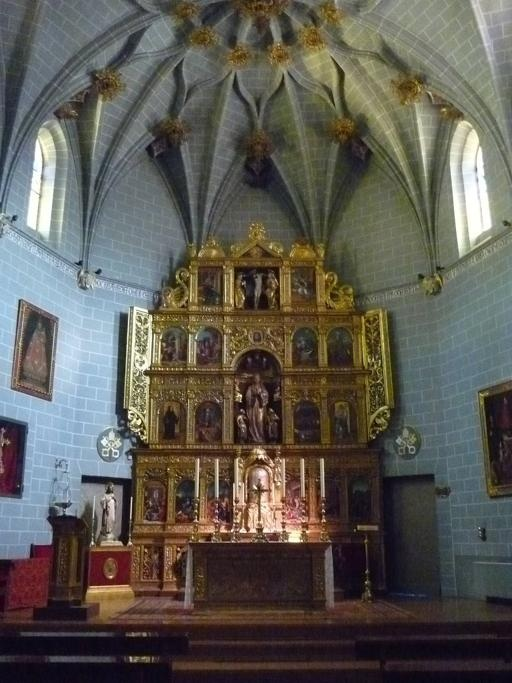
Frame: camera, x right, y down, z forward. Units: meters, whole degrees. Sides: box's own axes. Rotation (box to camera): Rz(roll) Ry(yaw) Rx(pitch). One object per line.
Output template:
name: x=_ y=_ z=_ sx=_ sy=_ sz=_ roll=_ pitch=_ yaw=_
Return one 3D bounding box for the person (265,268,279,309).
person: x=0.338 y=-1.208 z=14.820 sx=0.351 sy=0.977 sz=0.195 roll=-5 pitch=-17 yaw=17

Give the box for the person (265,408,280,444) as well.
person: x=0.371 y=1.804 z=13.926 sx=0.306 sy=0.785 sz=0.240 roll=11 pitch=-19 yaw=-33

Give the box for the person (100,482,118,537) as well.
person: x=-2.919 y=3.334 z=12.605 sx=0.297 sy=1.057 sz=0.389 roll=4 pitch=-16 yaw=-12

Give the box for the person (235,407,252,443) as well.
person: x=-0.293 y=1.824 z=13.833 sx=0.267 sy=0.757 sz=0.360 roll=9 pitch=-18 yaw=-29

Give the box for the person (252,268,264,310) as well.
person: x=0.044 y=-1.203 z=14.852 sx=0.183 sy=0.969 sz=0.242 roll=-6 pitch=-17 yaw=20

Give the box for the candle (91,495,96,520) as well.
candle: x=-3.319 y=3.364 z=13.042 sx=0.080 sy=0.435 sz=0.106 roll=9 pitch=-18 yaw=-28

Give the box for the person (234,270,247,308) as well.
person: x=-0.355 y=-1.192 z=14.795 sx=0.291 sy=0.904 sz=0.124 roll=7 pitch=-18 yaw=-24
